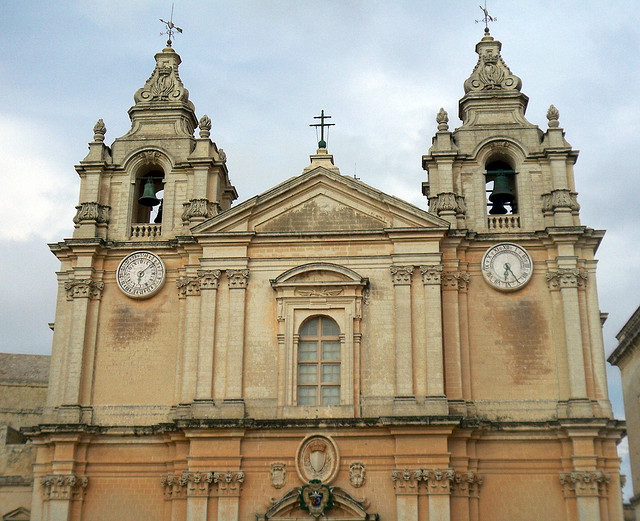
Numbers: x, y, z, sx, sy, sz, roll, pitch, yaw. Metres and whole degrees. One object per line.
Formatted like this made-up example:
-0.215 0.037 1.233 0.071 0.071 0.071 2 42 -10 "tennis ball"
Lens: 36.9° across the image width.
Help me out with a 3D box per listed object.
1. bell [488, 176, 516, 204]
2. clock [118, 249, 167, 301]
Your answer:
6.899 -2.738 36.316 0.955 0.957 0.651 3 -23 -7 "bell"
-6.633 0.483 35.292 1.729 2.133 0.287 -4 -35 -2 "clock"
